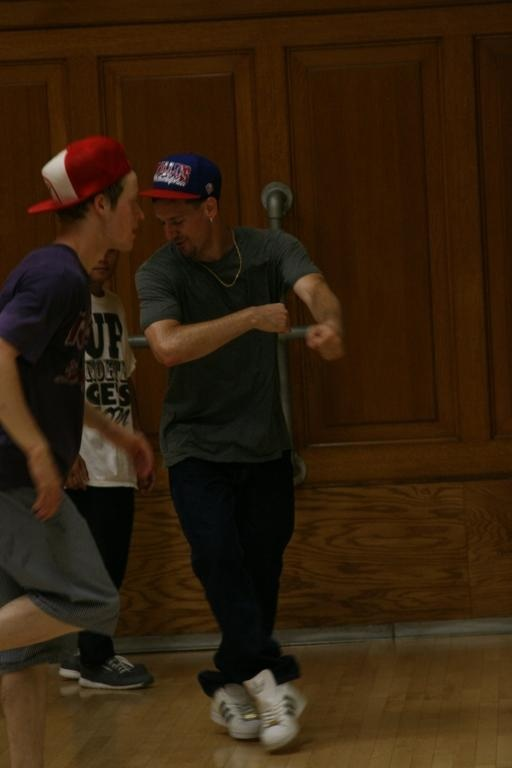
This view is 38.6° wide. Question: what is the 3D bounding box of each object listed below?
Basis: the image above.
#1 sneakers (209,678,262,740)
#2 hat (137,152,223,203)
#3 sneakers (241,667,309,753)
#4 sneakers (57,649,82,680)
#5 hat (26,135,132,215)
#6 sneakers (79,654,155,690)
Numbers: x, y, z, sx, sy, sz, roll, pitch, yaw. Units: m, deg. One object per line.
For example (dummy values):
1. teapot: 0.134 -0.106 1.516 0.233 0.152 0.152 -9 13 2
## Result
1. sneakers: -0.056 0.904 2.005 0.077 0.085 0.194 1 -12 -22
2. hat: -0.200 -0.563 2.029 0.189 0.101 0.142 -7 15 -35
3. sneakers: 0.051 0.840 1.898 0.154 0.175 0.129 -4 -7 -2
4. sneakers: -0.670 1.041 2.720 0.064 0.079 0.185 5 -5 1
5. hat: -0.348 -0.431 1.538 0.233 0.113 0.140 -33 24 -12
6. sneakers: -0.487 1.011 2.592 0.213 0.087 0.115 -3 -12 12
